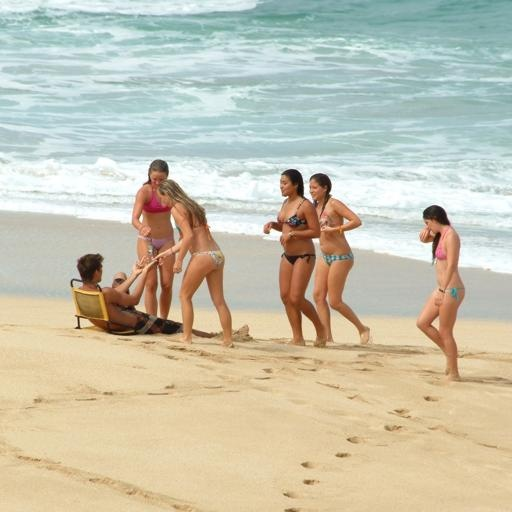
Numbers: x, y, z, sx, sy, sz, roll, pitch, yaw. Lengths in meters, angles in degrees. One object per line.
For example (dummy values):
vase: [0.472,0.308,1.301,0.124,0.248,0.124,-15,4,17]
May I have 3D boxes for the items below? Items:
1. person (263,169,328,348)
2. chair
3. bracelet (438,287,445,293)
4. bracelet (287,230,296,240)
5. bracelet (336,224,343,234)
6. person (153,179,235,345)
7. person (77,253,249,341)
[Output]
person: [0.438,0.033,8.239,0.569,1.759,0.723,-2,17,-27]
chair: [-1.501,0.502,7.831,0.441,0.374,0.717,0,-3,23]
bracelet: [1.520,0.276,6.811,0.024,0.039,0.071,-2,13,-27]
bracelet: [0.344,-0.205,8.068,0.067,0.068,0.030,10,8,6]
bracelet: [0.859,-0.270,8.476,0.099,0.100,0.045,1,6,8]
person: [-0.549,0.072,7.694,0.788,1.517,0.629,4,15,-7]
person: [-1.008,0.455,8.143,1.626,0.626,0.602,5,-6,-43]
